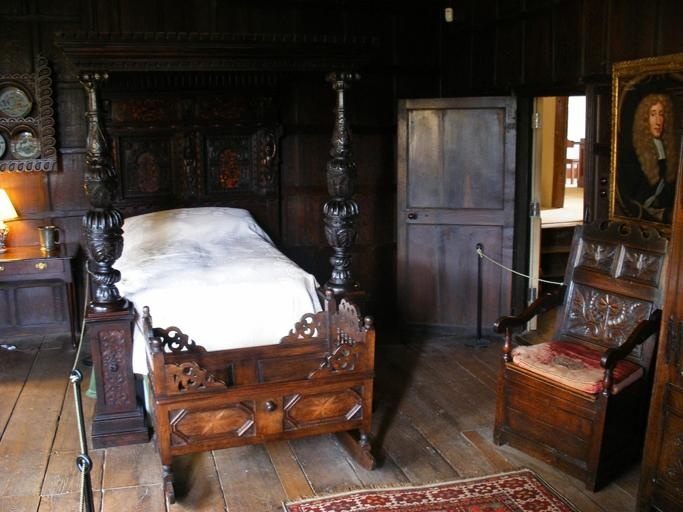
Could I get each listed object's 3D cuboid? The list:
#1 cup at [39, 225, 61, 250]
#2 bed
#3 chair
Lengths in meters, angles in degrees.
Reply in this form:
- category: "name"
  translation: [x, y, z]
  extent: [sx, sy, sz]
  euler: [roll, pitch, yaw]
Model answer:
- category: "cup"
  translation: [-3.058, -0.198, 5.788]
  extent: [0.159, 0.240, 0.294]
  euler: [-4, 12, -12]
- category: "bed"
  translation: [-0.903, 0.573, 4.572]
  extent: [1.460, 1.005, 2.361]
  euler: [-6, 18, -18]
- category: "chair"
  translation: [1.705, 0.618, 3.894]
  extent: [0.903, 1.629, 0.853]
  euler: [-12, 16, -41]
